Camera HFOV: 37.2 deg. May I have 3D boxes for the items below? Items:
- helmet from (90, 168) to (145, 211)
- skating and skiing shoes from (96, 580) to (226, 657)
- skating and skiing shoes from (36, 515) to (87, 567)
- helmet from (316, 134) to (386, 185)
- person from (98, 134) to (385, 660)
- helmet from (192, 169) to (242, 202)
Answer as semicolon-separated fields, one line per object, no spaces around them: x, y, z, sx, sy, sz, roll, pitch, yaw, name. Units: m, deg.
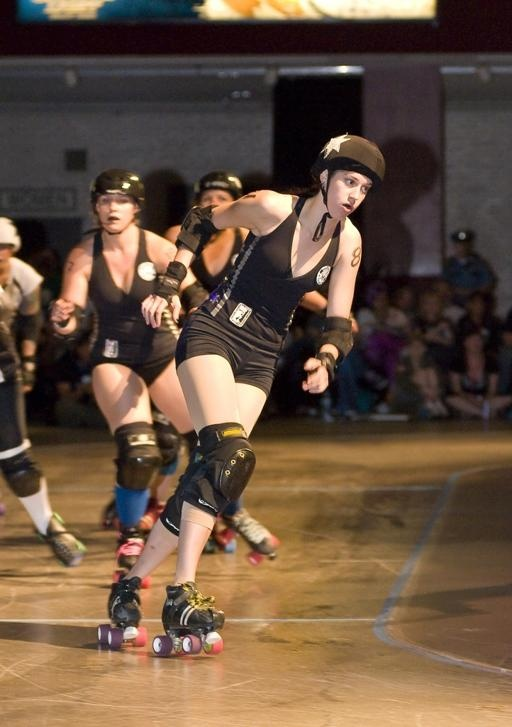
-0.504;-0.633;2.722;0.143;0.114;0.164;1;-12;-4;helmet
-0.300;0.652;2.014;0.147;0.176;0.469;5;-8;-35;skating and skiing shoes
-0.708;0.658;2.837;0.103;0.083;0.255;-9;27;-33;skating and skiing shoes
0.247;-0.549;2.062;0.184;0.096;0.130;9;7;38;helmet
-0.060;0.050;2.097;0.725;1.406;0.467;3;-15;34;person
-0.178;-0.855;3.643;0.154;0.132;0.185;3;-22;1;helmet
